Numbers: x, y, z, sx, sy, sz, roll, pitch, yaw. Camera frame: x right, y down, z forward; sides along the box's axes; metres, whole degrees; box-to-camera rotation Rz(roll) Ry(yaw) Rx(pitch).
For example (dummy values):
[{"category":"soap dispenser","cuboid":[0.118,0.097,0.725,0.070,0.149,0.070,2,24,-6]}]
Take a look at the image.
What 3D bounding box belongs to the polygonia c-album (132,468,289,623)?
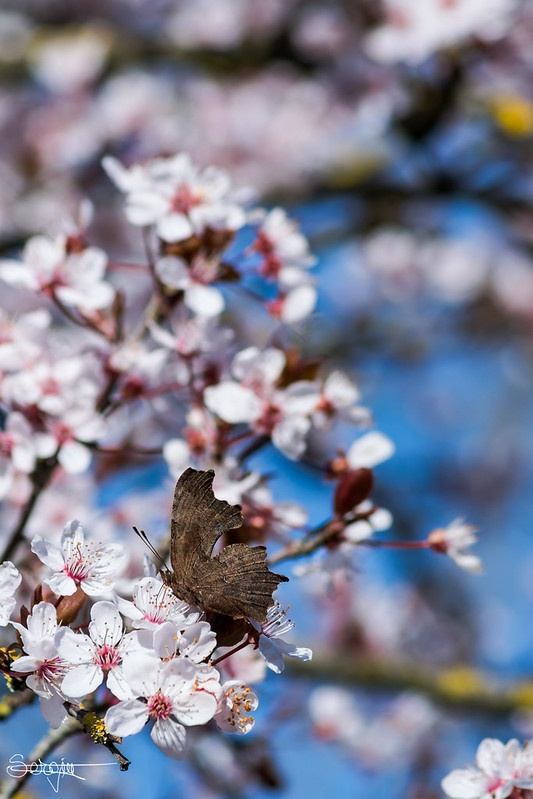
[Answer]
[{"category":"polygonia c-album","cuboid":[-0.070,0.308,2.612,0.340,0.305,0.220,0,56,6]}]
